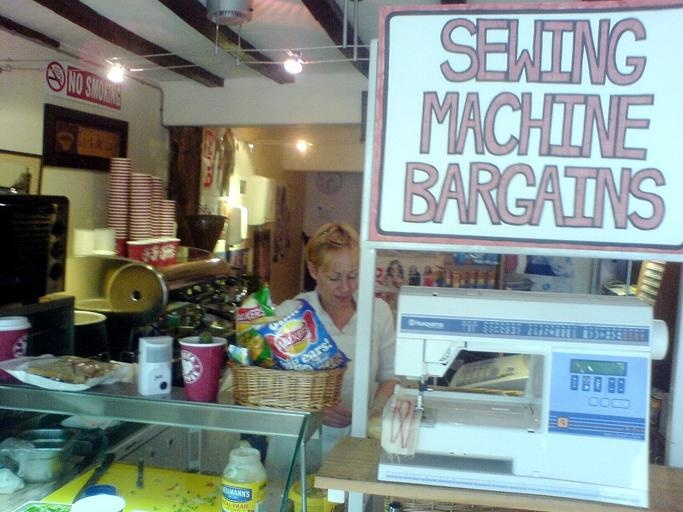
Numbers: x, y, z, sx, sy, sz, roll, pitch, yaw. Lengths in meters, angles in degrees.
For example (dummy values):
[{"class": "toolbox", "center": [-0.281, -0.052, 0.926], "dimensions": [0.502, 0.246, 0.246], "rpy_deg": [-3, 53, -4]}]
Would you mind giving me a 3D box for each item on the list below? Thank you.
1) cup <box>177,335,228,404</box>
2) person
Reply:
[{"class": "cup", "center": [-0.444, 0.376, 2.064], "dimensions": [0.185, 0.204, 0.191], "rpy_deg": [-2, -1, 0]}, {"class": "person", "center": [-0.023, 0.270, 2.914], "dimensions": [0.585, 0.891, 1.531], "rpy_deg": [3, -1, 4]}]
